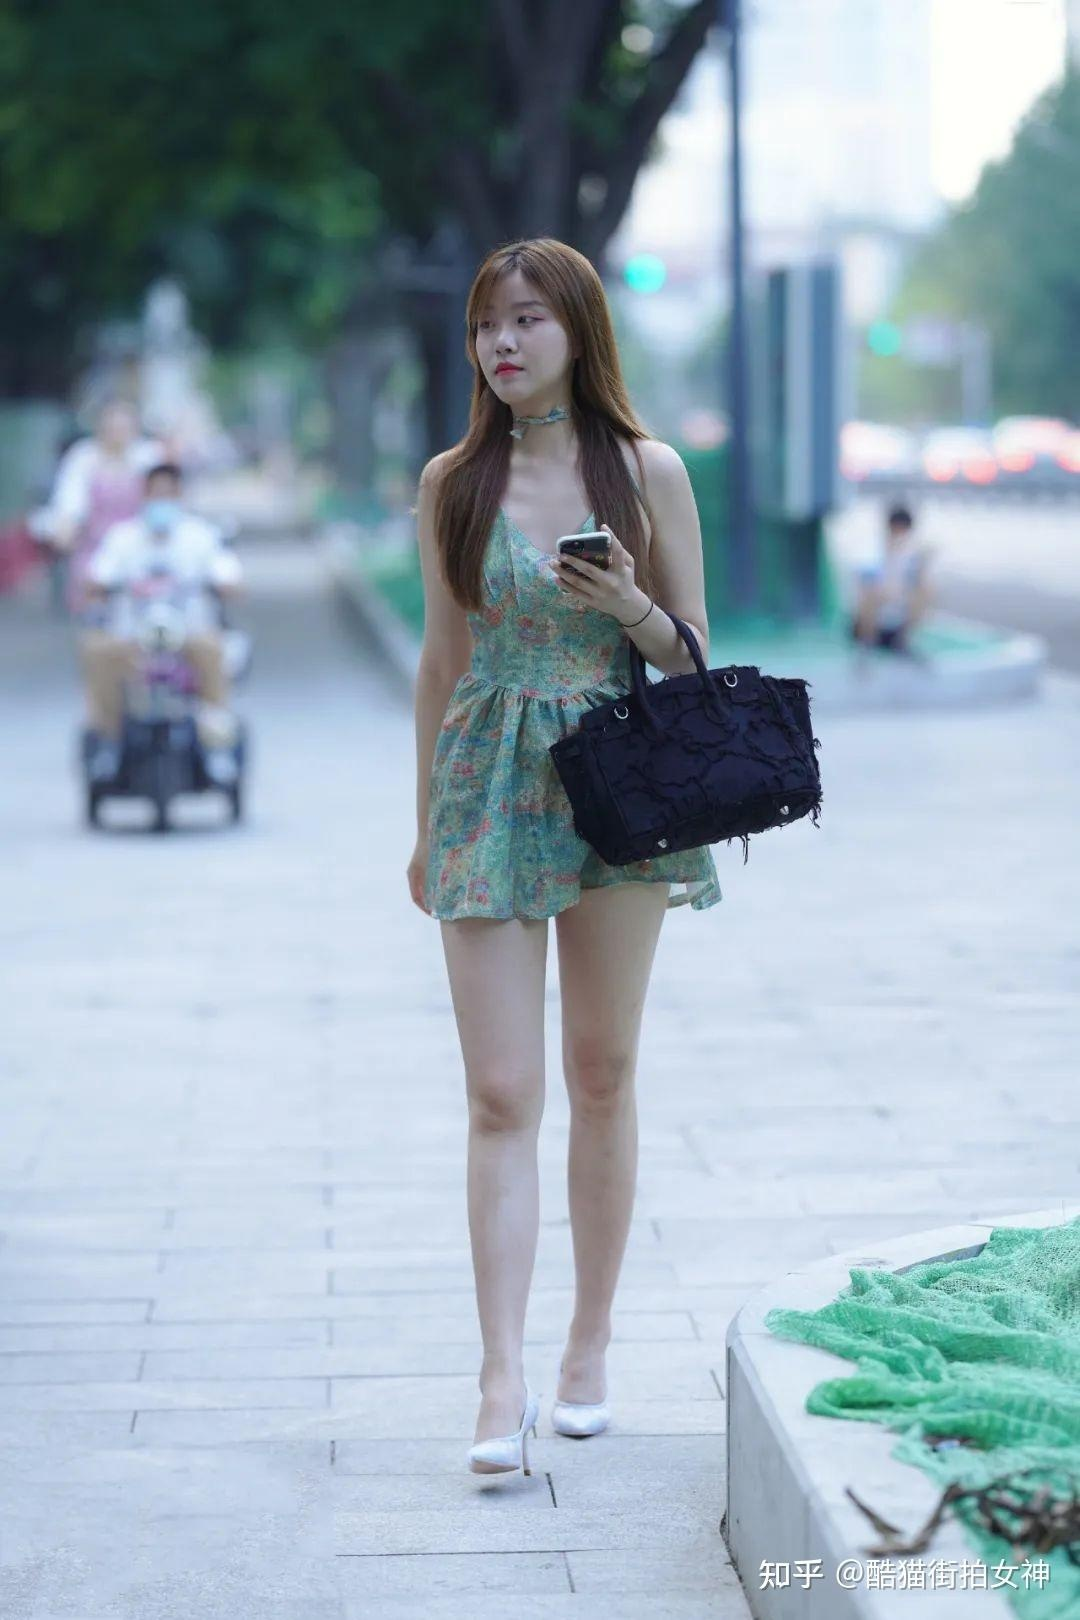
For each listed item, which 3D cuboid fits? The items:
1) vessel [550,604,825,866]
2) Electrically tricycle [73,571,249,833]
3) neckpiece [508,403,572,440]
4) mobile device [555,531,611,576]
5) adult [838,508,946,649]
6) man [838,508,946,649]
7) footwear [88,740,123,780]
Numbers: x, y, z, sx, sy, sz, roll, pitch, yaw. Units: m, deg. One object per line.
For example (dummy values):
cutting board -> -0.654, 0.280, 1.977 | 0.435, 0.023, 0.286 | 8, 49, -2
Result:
vessel -> 0.200, -0.083, 2.863 | 0.372, 0.282, 0.183 | -1, 6, -9
Electrically tricycle -> -1.778, -0.449, 9.814 | 0.762, 1.033, 0.764 | -2, 6, -11
neckpiece -> 0.000, -0.551, 2.987 | 0.052, 0.016, 0.060 | -6, -8, -16
mobile device -> 0.057, -0.327, 2.715 | 0.060, 0.050, 0.012 | 1, 40, 2
adult -> 2.432, -1.602, 14.533 | 0.516, 1.027, 0.807 | 0, 6, 9
man -> 2.432, -1.602, 14.533 | 0.516, 1.027, 0.807 | 0, 6, 9
footwear -> -2.000, -0.242, 9.614 | 0.137, 0.177, 0.283 | -2, 6, -12
